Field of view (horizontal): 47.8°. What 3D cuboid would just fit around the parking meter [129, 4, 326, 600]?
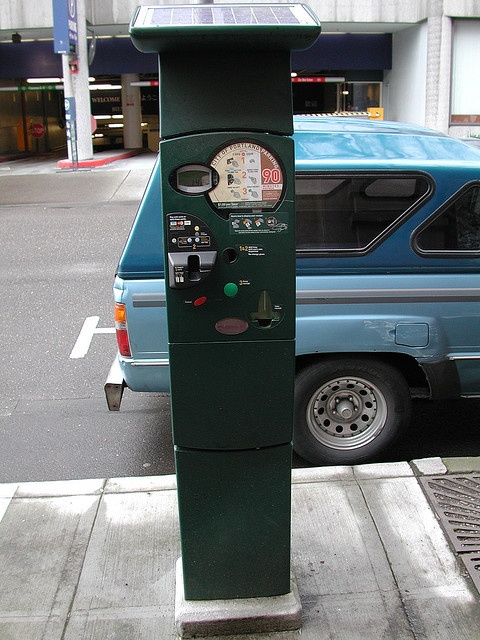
[{"bbox_3d":[-0.015,0.080,2.017,0.578,2.316,0.362,-3,15,-2],"label":"parking meter"}]
